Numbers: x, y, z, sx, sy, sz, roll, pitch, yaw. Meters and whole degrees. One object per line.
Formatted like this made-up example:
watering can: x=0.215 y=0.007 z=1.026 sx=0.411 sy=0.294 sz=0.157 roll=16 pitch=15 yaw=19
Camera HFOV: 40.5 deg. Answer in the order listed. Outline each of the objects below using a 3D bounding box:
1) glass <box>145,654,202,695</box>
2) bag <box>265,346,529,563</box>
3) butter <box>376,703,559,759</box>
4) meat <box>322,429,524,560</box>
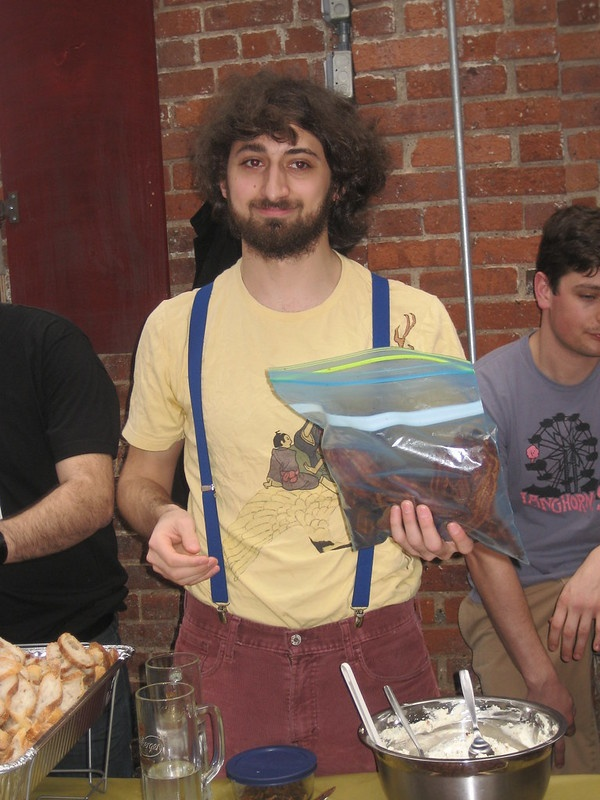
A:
glass: x=-0.160 y=0.342 z=1.046 sx=0.068 sy=0.060 sz=0.063 roll=0 pitch=-3 yaw=4
bag: x=0.137 y=0.054 z=1.048 sx=0.260 sy=0.325 sz=0.110 roll=-11 pitch=23 yaw=18
butter: x=0.212 y=0.404 z=0.995 sx=0.113 sy=0.022 sz=0.104 roll=-2 pitch=-3 yaw=2
meat: x=0.156 y=0.103 z=1.050 sx=0.270 sy=0.152 sz=0.056 roll=-1 pitch=37 yaw=15
